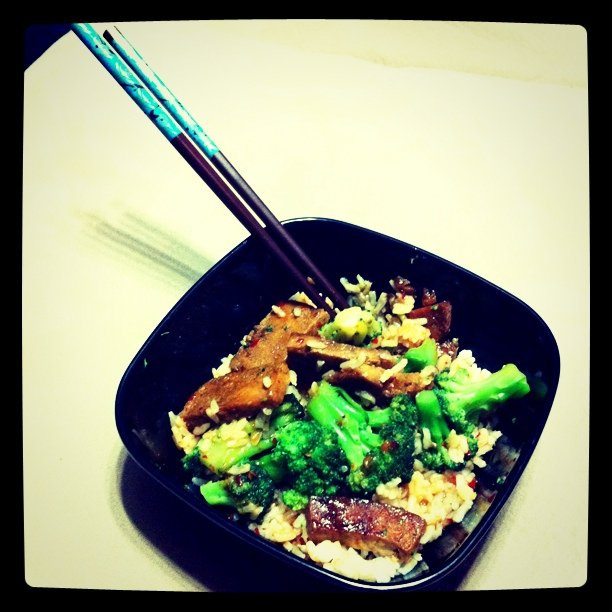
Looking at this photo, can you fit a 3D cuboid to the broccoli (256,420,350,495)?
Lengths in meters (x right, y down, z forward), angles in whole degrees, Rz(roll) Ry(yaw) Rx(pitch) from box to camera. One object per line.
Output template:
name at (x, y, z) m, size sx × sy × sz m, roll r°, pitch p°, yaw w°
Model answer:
broccoli at (0.010, 0.417, 1.789) m, size 0.214 × 0.064 × 0.196 m, roll 40°, pitch 88°, yaw 0°

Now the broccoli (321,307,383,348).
broccoli at (0.150, 0.062, 1.947) m, size 0.127 × 0.048 × 0.145 m, roll 8°, pitch 76°, yaw -6°

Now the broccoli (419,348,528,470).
broccoli at (0.379, 0.320, 1.859) m, size 0.417 × 0.276 × 0.118 m, roll 22°, pitch 28°, yaw -13°

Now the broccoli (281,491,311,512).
broccoli at (-0.029, 0.531, 1.752) m, size 0.063 × 0.050 × 0.027 m, roll 19°, pitch 51°, yaw 28°

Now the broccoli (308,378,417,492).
broccoli at (0.144, 0.385, 1.843) m, size 0.267 × 0.144 × 0.239 m, roll 38°, pitch 58°, yaw 16°

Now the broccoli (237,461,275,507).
broccoli at (-0.127, 0.494, 1.755) m, size 0.091 × 0.037 × 0.124 m, roll -1°, pitch 91°, yaw -15°
